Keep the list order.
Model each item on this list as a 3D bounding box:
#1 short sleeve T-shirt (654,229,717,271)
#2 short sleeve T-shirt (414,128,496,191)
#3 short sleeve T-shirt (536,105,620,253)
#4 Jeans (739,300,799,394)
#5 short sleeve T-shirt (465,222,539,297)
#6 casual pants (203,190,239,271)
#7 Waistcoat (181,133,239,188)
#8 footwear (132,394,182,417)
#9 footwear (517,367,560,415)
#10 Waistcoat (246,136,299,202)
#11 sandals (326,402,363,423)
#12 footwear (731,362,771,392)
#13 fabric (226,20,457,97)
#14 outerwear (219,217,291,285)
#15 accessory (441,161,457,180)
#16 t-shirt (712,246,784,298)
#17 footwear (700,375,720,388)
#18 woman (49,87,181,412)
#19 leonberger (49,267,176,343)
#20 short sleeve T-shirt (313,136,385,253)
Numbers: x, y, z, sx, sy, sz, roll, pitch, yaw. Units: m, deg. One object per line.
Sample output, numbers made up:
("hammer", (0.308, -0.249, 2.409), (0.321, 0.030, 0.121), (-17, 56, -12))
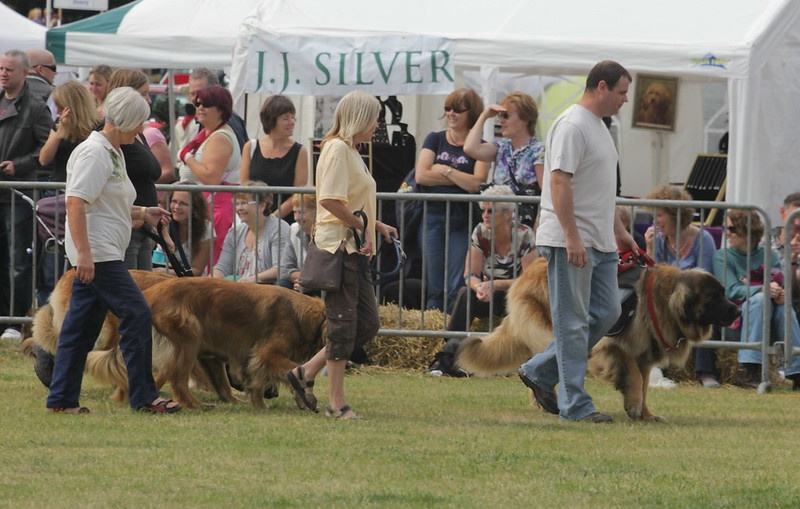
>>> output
("short sleeve T-shirt", (3.313, -0.239, 18.961), (0.782, 0.751, 0.454), (1, -5, 8))
("short sleeve T-shirt", (0.619, -1.071, 19.452), (0.831, 0.762, 0.453), (12, 2, -2))
("short sleeve T-shirt", (1.817, -0.793, 16.595), (0.811, 1.480, 0.495), (2, -3, 3))
("Jeans", (4.147, 1.002, 18.528), (0.959, 1.141, 0.444), (2, -11, -19))
("short sleeve T-shirt", (1.181, 0.033, 18.892), (0.776, 0.730, 0.454), (0, 13, 3))
("casual pants", (-2.066, -0.333, 18.844), (0.538, 0.722, 0.263), (3, -4, 38))
("Waistcoat", (-2.212, -1.087, 19.308), (0.577, 0.729, 0.787), (5, 1, 3))
("footwear", (-2.416, 1.511, 16.498), (0.456, 0.138, 0.179), (-2, 1, 8))
("footwear", (1.450, 1.331, 17.102), (0.197, 0.218, 0.544), (32, 12, -28))
("Waistcoat", (-1.498, -1.012, 19.435), (0.588, 0.811, 0.439), (7, 21, 2))
("sandals", (-0.551, 1.589, 16.532), (0.305, 0.113, 0.152), (-1, -3, 13))
("footwear", (4.003, 1.385, 18.671), (0.431, 0.411, 0.213), (-3, 10, 1))
("fabric", (-0.562, -2.489, 20.433), (3.181, 1.004, 0.449), (-2, 2, -29))
("outerwear", (-1.647, -0.067, 18.830), (0.888, 0.853, 0.520), (0, -3, 19))
("accessory", (0.582, -0.976, 19.237), (0.138, 0.125, 0.135), (-6, 11, -26))
("t-shirt", (3.964, 0.182, 18.796), (0.630, 0.627, 0.256), (-16, -22, 16))
("footwear", (3.543, 1.441, 18.838), (0.251, 0.108, 0.090), (-4, -32, 4))
("woman", (-2.820, -0.042, 16.674), (1.483, 3.252, 1.573), (5, 7, 27))
("leonberger", (-3.271, 0.535, 17.247), (0.347, 0.712, 1.368), (-22, -4, 13))
("short sleeve T-shirt", (-0.567, -0.698, 17.156), (0.909, 1.718, 1.551), (0, 3, -1))
